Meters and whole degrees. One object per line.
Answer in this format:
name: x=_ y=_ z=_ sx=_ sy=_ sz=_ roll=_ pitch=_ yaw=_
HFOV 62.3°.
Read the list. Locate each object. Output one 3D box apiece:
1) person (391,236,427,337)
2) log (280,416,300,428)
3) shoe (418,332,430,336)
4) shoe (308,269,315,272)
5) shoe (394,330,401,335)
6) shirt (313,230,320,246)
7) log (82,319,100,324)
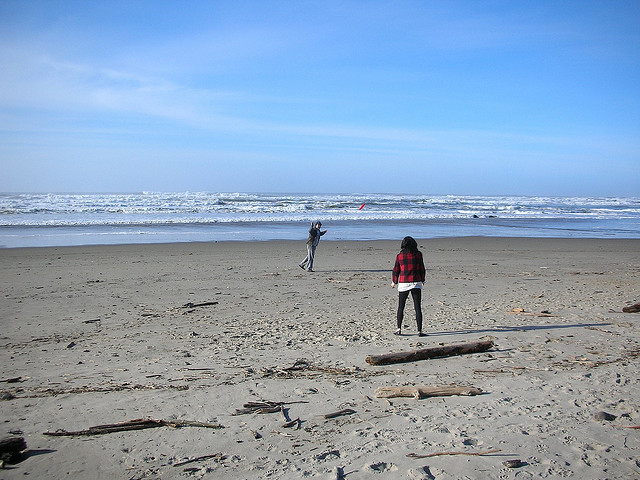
person: x=1.617 y=0.828 z=9.478 sx=0.605 sy=1.775 sz=0.611 roll=0 pitch=10 yaw=6
log: x=-0.301 y=2.185 z=6.388 sx=0.408 sy=0.044 sz=0.053 roll=-8 pitch=-3 yaw=-24
shoe: x=1.851 y=1.661 z=9.404 sx=0.206 sy=0.071 sz=0.086 roll=-5 pitch=9 yaw=-28
shoe: x=-0.256 y=0.956 z=16.678 sx=0.164 sy=0.061 sz=0.229 roll=-1 pitch=8 yaw=-5
shoe: x=1.394 y=1.657 z=9.517 sx=0.120 sy=0.040 sz=0.144 roll=0 pitch=-2 yaw=-5
shirt: x=-0.111 y=-0.060 z=16.759 sx=0.184 sy=0.501 sz=0.380 roll=0 pitch=9 yaw=4
log: x=-4.559 y=1.620 z=10.568 sx=0.379 sy=0.081 sz=0.072 roll=-3 pitch=-5 yaw=32
